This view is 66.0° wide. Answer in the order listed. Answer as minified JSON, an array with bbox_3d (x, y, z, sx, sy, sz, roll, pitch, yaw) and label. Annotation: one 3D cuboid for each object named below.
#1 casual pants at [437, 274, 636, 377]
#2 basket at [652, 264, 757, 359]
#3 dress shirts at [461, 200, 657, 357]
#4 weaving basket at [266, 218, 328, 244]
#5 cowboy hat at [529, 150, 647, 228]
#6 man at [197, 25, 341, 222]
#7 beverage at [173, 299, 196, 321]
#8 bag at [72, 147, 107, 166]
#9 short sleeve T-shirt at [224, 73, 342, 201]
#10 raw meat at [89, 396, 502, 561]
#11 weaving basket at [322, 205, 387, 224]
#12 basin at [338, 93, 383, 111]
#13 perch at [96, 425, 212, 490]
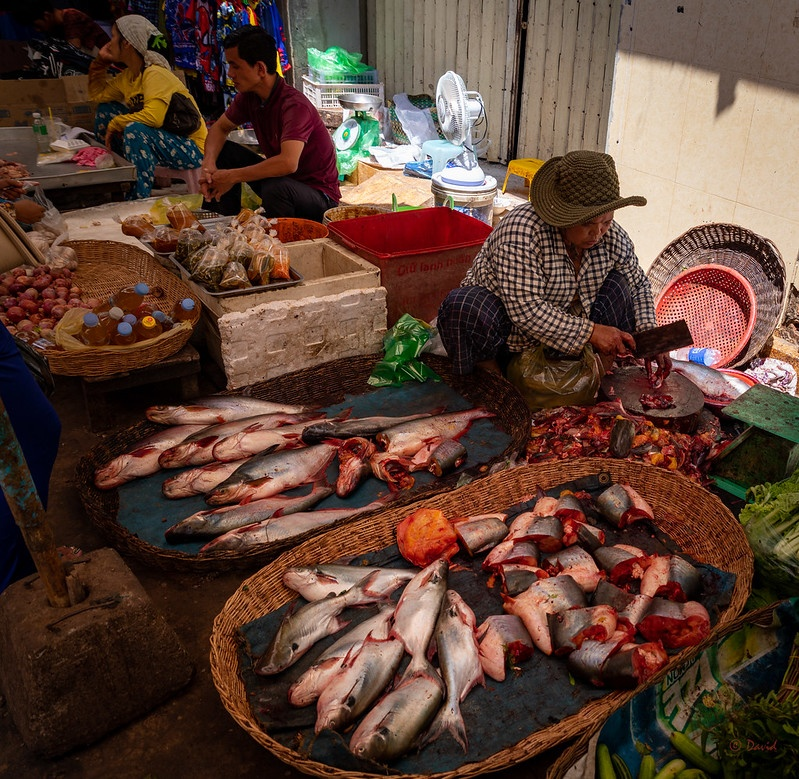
[{"bbox_3d":[0.903,-0.386,3.807,1.405,0.479,0.804,-9,2,-7],"label":"casual pants"},{"bbox_3d":[2.058,-0.521,4.031,0.166,0.581,0.654,8,2,-43],"label":"basket"},{"bbox_3d":[0.849,-0.707,3.448,0.847,0.616,0.991,-18,42,-37],"label":"dress shirts"},{"bbox_3d":[-0.768,-1.213,4.695,0.342,0.219,0.320,-2,25,-7],"label":"weaving basket"},{"bbox_3d":[0.915,-0.976,3.024,0.384,0.342,0.500,-11,29,-19],"label":"cowboy hat"},{"bbox_3d":[-1.146,-2.131,5.106,1.120,1.471,0.804,3,30,5],"label":"man"},{"bbox_3d":[-1.257,-0.458,3.601,0.083,0.125,0.080,-26,80,-31],"label":"beverage"},{"bbox_3d":[-3.199,-2.387,6.344,0.338,0.089,0.327,22,36,25],"label":"bag"},{"bbox_3d":[-1.008,-2.116,5.351,0.973,1.009,0.713,28,47,28],"label":"short sleeve T-shirt"},{"bbox_3d":[-0.446,0.416,3.059,1.519,0.218,0.824,-13,26,-27],"label":"raw meat"},{"bbox_3d":[-0.407,-1.431,5.014,0.405,0.136,0.416,-23,36,-36],"label":"weaving basket"},{"bbox_3d":[-0.515,-3.692,7.963,0.415,0.094,0.369,9,31,7],"label":"basin"},{"bbox_3d":[-1.188,0.342,2.990,0.411,0.073,0.147,-28,32,-29],"label":"perch"}]
